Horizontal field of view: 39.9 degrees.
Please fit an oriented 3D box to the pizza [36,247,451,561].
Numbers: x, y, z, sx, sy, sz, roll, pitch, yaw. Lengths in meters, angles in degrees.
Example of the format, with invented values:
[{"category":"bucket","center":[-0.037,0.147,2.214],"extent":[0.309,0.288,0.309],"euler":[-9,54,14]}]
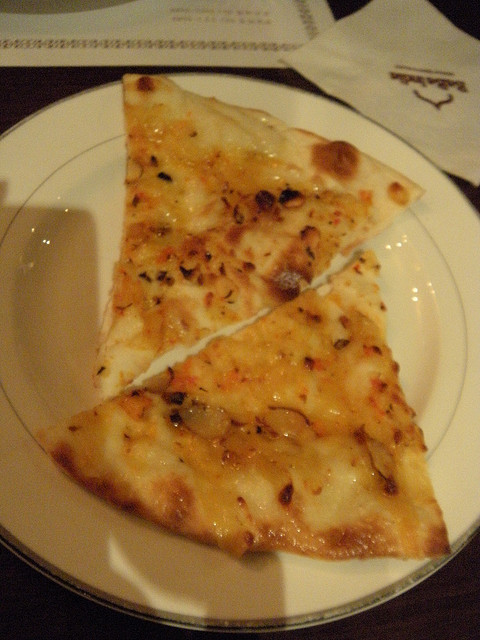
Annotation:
[{"category":"pizza","center":[0.038,0.270,1.560],"extent":[0.896,0.162,0.715],"euler":[-16,72,-6]}]
